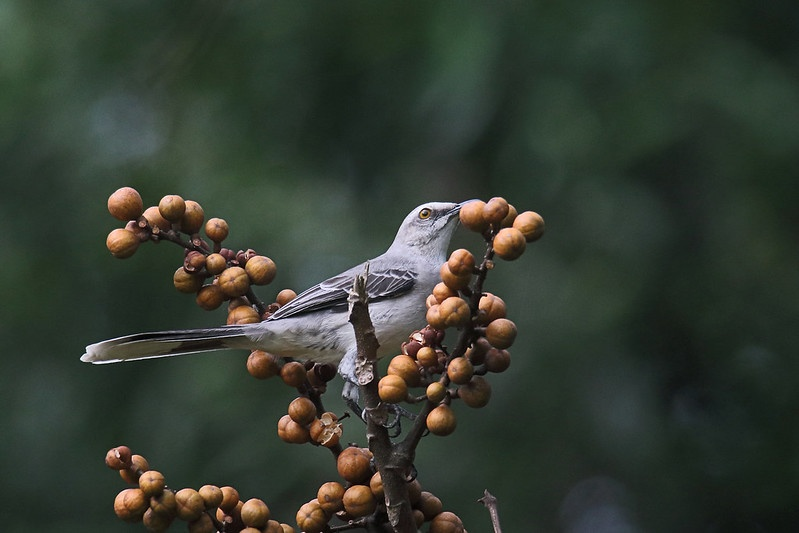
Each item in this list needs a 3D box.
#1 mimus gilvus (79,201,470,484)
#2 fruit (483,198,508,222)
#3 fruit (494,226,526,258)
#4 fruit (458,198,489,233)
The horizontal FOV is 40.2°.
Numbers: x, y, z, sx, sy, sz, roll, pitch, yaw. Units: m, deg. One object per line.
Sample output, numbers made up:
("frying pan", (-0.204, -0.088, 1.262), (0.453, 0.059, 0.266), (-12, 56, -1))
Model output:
("mimus gilvus", (-0.451, 0.207, 4.857), (1.823, 0.840, 0.519), (-6, -11, -2))
("fruit", (0.363, -0.211, 4.120), (0.080, 0.108, 0.088), (16, -13, 6))
("fruit", (0.407, -0.085, 4.102), (0.103, 0.127, 0.109), (7, -22, -20))
("fruit", (0.280, -0.202, 4.148), (0.101, 0.133, 0.109), (-5, -7, -18))
